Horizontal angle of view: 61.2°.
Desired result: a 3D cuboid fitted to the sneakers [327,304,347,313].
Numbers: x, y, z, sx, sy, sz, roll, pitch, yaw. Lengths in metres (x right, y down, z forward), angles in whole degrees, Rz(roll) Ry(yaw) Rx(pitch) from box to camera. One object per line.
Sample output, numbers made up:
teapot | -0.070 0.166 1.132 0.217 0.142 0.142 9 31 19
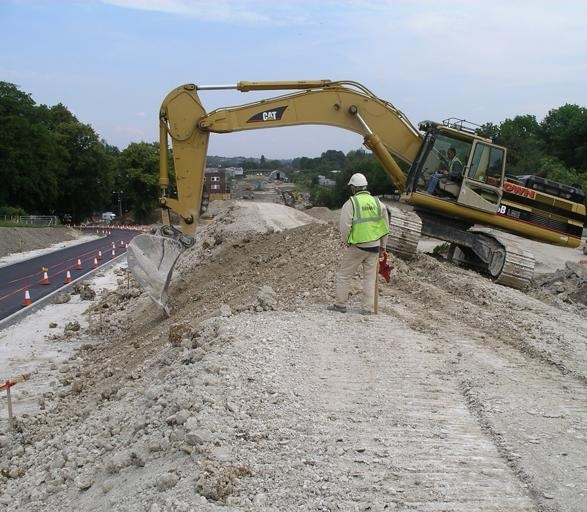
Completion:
sneakers | 0.657 0.780 7.487 0.301 0.113 0.112 9 11 38

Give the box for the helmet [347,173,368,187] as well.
helmet | 0.929 -1.120 7.184 0.215 0.129 0.257 0 15 -12

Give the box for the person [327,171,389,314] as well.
person | 0.980 -0.168 7.303 0.740 2.053 0.602 6 14 8
